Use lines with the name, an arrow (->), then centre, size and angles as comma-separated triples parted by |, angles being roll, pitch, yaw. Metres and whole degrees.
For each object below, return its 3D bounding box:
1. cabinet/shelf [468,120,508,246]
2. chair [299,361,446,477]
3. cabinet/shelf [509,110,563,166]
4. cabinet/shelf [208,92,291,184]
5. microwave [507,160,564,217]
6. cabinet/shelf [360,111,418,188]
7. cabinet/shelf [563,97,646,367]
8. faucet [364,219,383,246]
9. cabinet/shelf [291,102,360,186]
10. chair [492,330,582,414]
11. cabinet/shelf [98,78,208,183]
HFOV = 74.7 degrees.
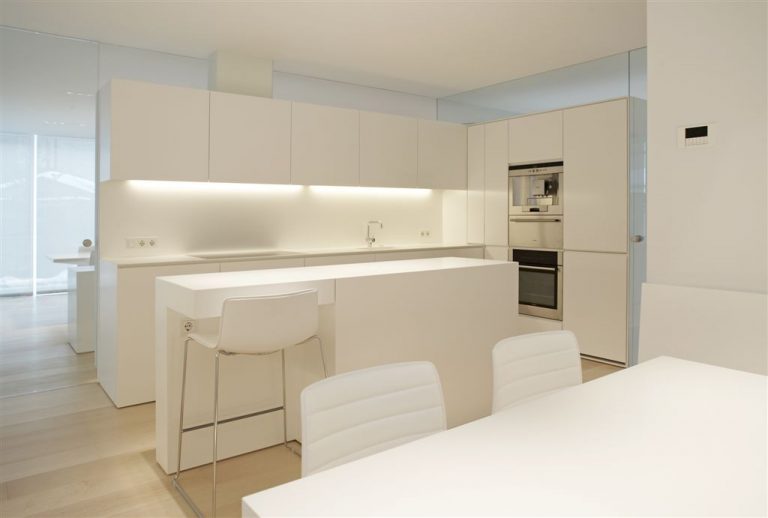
cabinet/shelf -> 1.274, -0.921, 6.170 | 0.260, 1.467, 0.781 | -9, 15, -27
chair -> -0.084, 0.567, 2.157 | 0.456, 0.635, 0.506 | -3, -1, -23
cabinet/shelf -> 1.679, -1.395, 5.795 | 0.655, 0.521, 0.315 | -5, 10, -3
cabinet/shelf -> -1.333, -1.179, 4.880 | 1.001, 0.919, 0.509 | 0, 2, -32
microwave -> 1.833, -0.788, 5.794 | 0.389, 0.646, 0.744 | -7, 9, -38
cabinet/shelf -> -0.083, -1.276, 5.965 | 0.893, 0.829, 0.452 | -8, 14, -39
cabinet/shelf -> 2.180, -0.294, 5.129 | 0.973, 2.595, 0.559 | 9, 17, 36
faucet -> -0.135, -0.315, 6.132 | 0.146, 0.313, 0.320 | 4, 14, 19
cabinet/shelf -> -0.645, -1.215, 5.339 | 1.005, 0.955, 0.337 | 0, 2, -33
chair -> 0.694, 0.489, 2.417 | 0.370, 0.484, 0.402 | -2, -1, -20
cabinet/shelf -> -1.934, -1.155, 4.750 | 0.945, 0.835, 0.628 | 5, 7, 3
